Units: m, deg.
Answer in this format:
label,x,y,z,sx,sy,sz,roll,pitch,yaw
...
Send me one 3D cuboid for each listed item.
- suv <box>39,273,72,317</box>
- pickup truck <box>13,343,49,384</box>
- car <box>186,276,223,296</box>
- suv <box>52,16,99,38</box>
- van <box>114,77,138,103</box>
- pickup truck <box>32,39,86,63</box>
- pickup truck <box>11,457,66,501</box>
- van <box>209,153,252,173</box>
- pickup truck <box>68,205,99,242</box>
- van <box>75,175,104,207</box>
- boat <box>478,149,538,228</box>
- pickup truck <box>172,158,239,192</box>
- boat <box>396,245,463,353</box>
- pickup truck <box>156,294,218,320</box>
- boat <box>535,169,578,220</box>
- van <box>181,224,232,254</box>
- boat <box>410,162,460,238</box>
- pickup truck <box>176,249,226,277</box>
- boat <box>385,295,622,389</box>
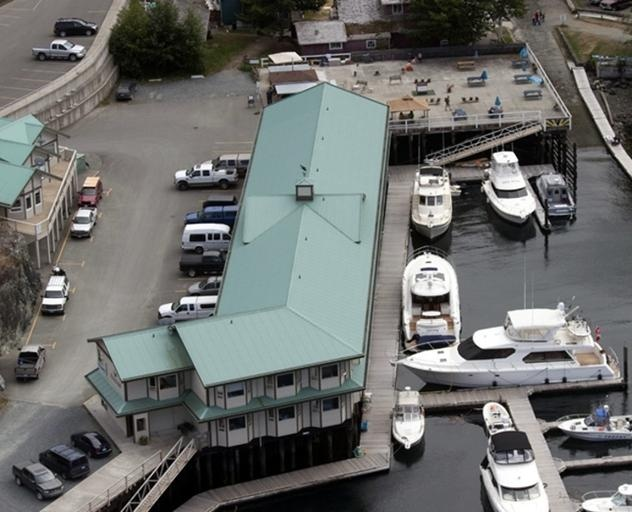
label,x,y,z,sx,sy,sz,roll,pitch,yaw
suv,-21.556,3.212,99.259,1.666,1.462,3.496,3,38,-6
pickup truck,-21.820,8.044,91.770,1.408,1.253,3.236,3,28,-1
car,-9.237,2.494,99.842,2.806,1.390,1.584,3,23,-1
suv,-27.166,-26.047,135.509,4.426,1.767,2.086,-3,30,-3
van,-20.897,-18.223,132.141,1.309,1.058,3.131,3,32,2
pickup truck,-27.908,-22.621,130.746,5.170,1.960,2.449,0,35,2
pickup truck,-18.870,15.071,81.167,3.999,1.559,1.933,19,22,36
van,-8.428,-8.690,117.101,3.747,1.773,2.245,2,28,0
pickup truck,-20.975,-3.091,108.593,1.473,1.200,3.355,2,32,-2
van,-21.170,-5.814,112.620,1.667,1.476,3.000,4,33,-4
boat,18.373,-6.474,113.643,3.497,3.258,8.002,-5,35,-2
pickup truck,-10.639,-7.908,115.849,5.556,2.163,2.559,1,27,1
boat,9.409,4.293,99.282,3.616,3.755,8.770,-2,52,8
pickup truck,-10.479,4.002,97.890,4.532,1.856,2.392,1,30,-2
boat,22.977,-5.704,114.426,3.121,2.491,5.195,-8,37,3
van,-9.714,-1.395,106.467,4.109,2.039,2.531,-3,43,-2
boat,10.653,-5.096,112.474,3.895,4.427,9.265,-5,38,6
pickup truck,-9.939,0.739,103.547,3.982,1.454,2.065,-3,37,1
boat,15.460,7.136,92.178,14.153,5.829,3.505,-7,37,3
